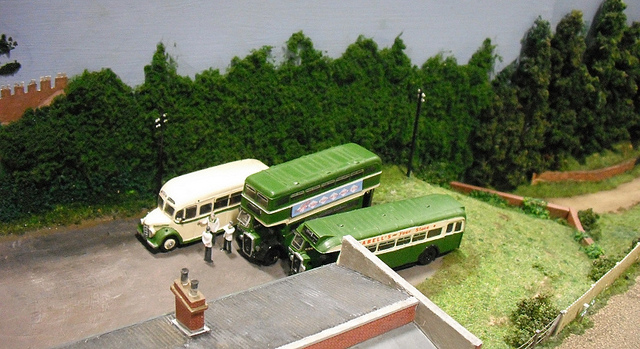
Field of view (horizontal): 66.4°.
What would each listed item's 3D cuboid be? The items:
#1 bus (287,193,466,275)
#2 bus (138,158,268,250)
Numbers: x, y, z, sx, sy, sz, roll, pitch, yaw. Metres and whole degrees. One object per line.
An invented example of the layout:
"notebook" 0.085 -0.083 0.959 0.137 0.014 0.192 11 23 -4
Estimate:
"bus" 4.688 4.877 37.495 13.710 4.619 4.173 -9 27 -21
"bus" -9.337 2.274 39.088 3.817 4.125 10.888 28 30 37
